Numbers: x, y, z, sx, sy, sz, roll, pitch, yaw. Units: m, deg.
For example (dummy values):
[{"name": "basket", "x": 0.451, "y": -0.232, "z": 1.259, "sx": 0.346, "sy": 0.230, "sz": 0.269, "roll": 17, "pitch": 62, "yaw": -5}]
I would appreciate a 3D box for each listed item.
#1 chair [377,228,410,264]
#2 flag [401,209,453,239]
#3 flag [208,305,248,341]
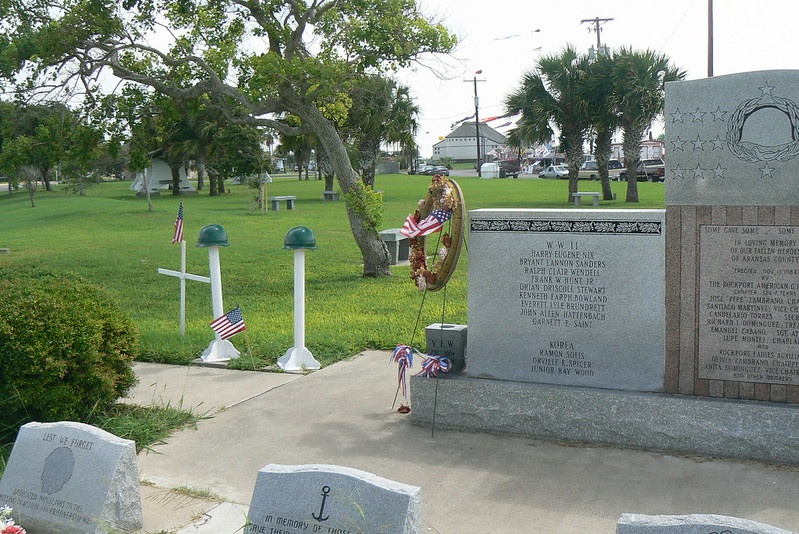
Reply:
[{"name": "chair", "x": -0.217, "y": -0.536, "z": 21.312, "sx": 0.352, "sy": 0.615, "sz": 1.075, "roll": 1, "pitch": 8, "yaw": 13}, {"name": "flag", "x": 0.340, "y": -0.543, "z": 10.710, "sx": 0.563, "sy": 0.357, "sz": 0.153, "roll": -37, "pitch": -22, "yaw": -12}, {"name": "flag", "x": -3.000, "y": 0.978, "z": 13.660, "sx": 0.570, "sy": 0.420, "sz": 0.075, "roll": -25, "pitch": 1, "yaw": 5}]
